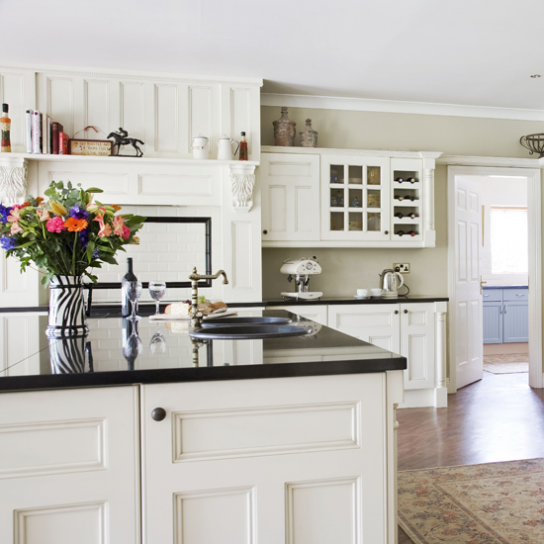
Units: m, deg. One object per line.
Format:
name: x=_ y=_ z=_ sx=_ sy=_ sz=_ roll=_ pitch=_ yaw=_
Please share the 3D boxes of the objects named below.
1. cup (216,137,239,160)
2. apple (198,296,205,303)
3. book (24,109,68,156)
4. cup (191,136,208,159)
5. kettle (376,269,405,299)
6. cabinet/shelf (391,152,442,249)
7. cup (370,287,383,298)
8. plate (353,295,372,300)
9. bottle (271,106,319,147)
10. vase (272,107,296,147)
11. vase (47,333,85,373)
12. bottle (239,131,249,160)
cup: x=-0.336 y=-0.909 z=4.697 sx=0.140 sy=0.186 sz=0.195 roll=-1 pitch=2 yaw=15
apple: x=-0.351 y=0.137 z=3.134 sx=0.035 sy=0.042 sz=0.026 roll=0 pitch=-9 yaw=-6
book: x=-1.574 y=-0.951 z=4.368 sx=0.211 sy=0.305 sz=0.365 roll=1 pitch=4 yaw=6
cup: x=-0.527 y=-0.909 z=4.630 sx=0.117 sy=0.183 sz=0.128 roll=-1 pitch=2 yaw=0
kettle: x=0.979 y=0.096 z=5.253 sx=0.297 sy=0.253 sz=0.174 roll=0 pitch=-2 yaw=4
cabinet/shelf: x=1.147 y=-0.573 z=5.170 sx=0.358 sy=0.739 sz=0.132 roll=-1 pitch=3 yaw=8
cup: x=0.844 y=0.168 z=5.113 sx=0.077 sy=0.047 sz=0.067 roll=-2 pitch=4 yaw=-13
plate: x=0.724 y=0.200 z=4.993 sx=0.124 sy=0.022 sz=0.200 roll=-1 pitch=2 yaw=6
bottle: x=0.165 y=-1.173 z=5.131 sx=0.478 sy=0.366 sz=0.224 roll=1 pitch=-3 yaw=-26
vase: x=0.093 y=-1.162 z=5.096 sx=0.172 sy=0.337 sz=0.209 roll=-1 pitch=2 yaw=0
vase: x=-0.631 y=0.257 z=1.956 sx=0.105 sy=0.131 sz=0.107 roll=-6 pitch=-6 yaw=26
bottle: x=-0.218 y=-0.935 z=4.718 sx=0.077 sy=0.223 sz=0.125 roll=-2 pitch=2 yaw=-3
